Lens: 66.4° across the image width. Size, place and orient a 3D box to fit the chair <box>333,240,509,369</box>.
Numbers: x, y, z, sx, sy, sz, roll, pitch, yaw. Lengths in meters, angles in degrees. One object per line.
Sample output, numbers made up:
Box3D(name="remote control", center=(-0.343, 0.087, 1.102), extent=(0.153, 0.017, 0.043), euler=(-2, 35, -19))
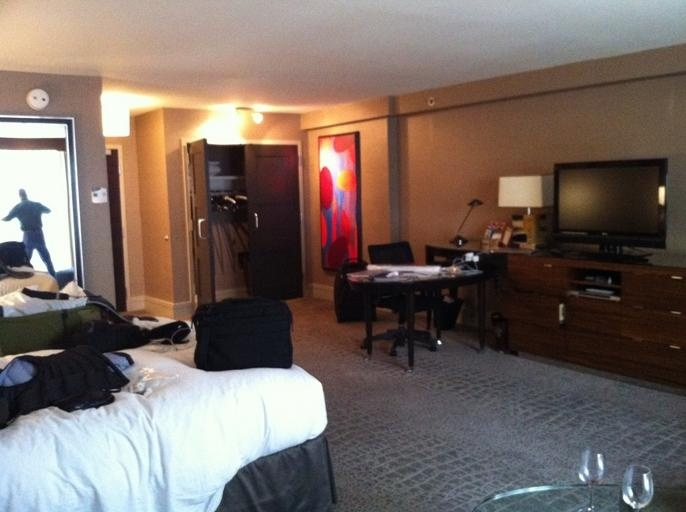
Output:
Box3D(name="chair", center=(0.767, 0.520, 5.700), extent=(1.598, 1.115, 1.222), euler=(-9, 13, -32))

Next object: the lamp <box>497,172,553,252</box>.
Box3D(name="lamp", center=(2.019, -0.468, 5.613), extent=(0.520, 0.763, 0.520), euler=(8, 15, 43))

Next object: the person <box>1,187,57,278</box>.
Box3D(name="person", center=(-3.103, -0.218, 5.208), extent=(0.432, 0.893, 0.115), euler=(-10, 13, -33))

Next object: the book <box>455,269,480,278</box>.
Box3D(name="book", center=(1.262, 0.178, 5.351), extent=(0.319, 0.049, 0.164), euler=(-8, 12, -29))

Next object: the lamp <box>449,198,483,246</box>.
Box3D(name="lamp", center=(1.480, -0.403, 6.178), extent=(0.348, 0.516, 0.652), euler=(1, 11, 16))

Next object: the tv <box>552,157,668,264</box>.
Box3D(name="tv", center=(2.532, -0.424, 4.902), extent=(1.036, 0.918, 0.341), euler=(3, 2, 41))

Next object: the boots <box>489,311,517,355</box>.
Box3D(name="boots", center=(1.697, 0.834, 5.753), extent=(0.263, 0.398, 0.285), euler=(-1, -13, -18))

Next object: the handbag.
Box3D(name="handbag", center=(-0.620, 0.503, 3.299), extent=(0.616, 0.447, 0.452), euler=(-2, 2, -6))
